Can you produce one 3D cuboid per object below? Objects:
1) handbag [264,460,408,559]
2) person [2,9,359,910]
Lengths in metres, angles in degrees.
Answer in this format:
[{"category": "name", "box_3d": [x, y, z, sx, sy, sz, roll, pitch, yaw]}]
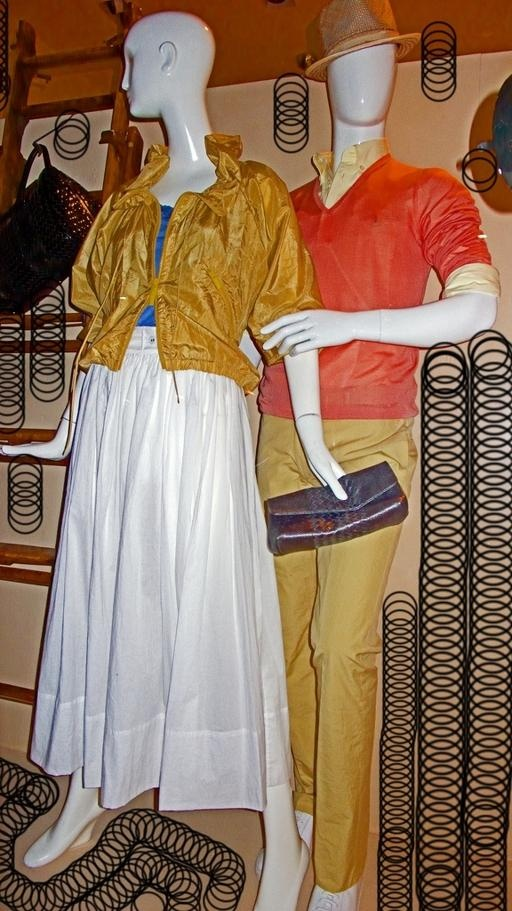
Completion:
[{"category": "handbag", "box_3d": [0.147, 0.108, 1.274, 0.232, 0.137, 0.089, -15, -26, 7]}, {"category": "person", "box_3d": [-0.161, 0.027, 1.295, 0.529, 1.614, 0.273, 1, -2, 4]}]
